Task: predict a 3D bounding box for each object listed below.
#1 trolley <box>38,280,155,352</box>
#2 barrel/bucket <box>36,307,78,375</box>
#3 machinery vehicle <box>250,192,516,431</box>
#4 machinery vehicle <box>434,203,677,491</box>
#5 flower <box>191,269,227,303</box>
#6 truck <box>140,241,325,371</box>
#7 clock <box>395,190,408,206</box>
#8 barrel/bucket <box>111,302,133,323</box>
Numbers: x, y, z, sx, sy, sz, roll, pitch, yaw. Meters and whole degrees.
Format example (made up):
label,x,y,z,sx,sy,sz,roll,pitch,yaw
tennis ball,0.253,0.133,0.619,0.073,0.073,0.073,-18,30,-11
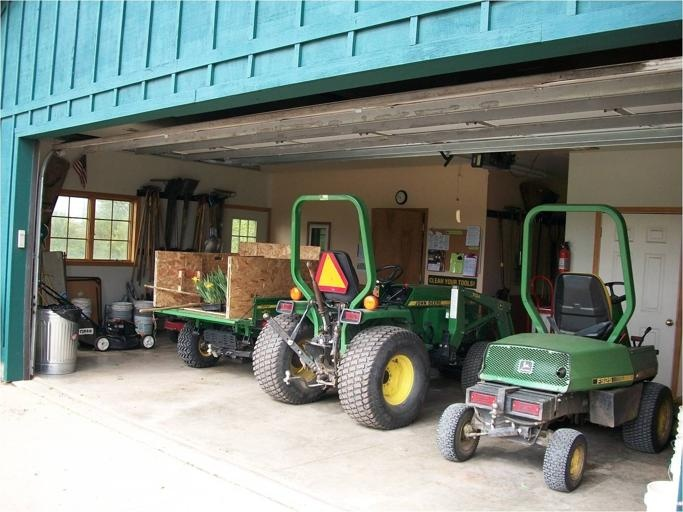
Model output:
label,x,y,z,sx,sy,sz,roll,pitch,yaw
trolley,-4.006,1.044,8.535,1.741,0.959,0.613,7,-11,-44
barrel/bucket,-3.696,1.108,6.808,0.471,0.850,0.233,1,3,-27
machinery vehicle,0.806,0.660,6.506,3.300,2.177,1.951,2,0,-44
machinery vehicle,1.927,0.642,4.557,1.970,2.320,0.941,1,3,-36
flower,-1.853,0.449,7.405,0.548,0.597,0.535,-4,-9,-20
truck,-1.694,0.679,7.140,1.480,1.433,2.664,2,4,35
clock,1.144,-1.125,10.119,0.277,0.259,0.067,26,15,37
barrel/bucket,-3.794,0.969,9.054,0.372,0.311,0.358,2,0,0
